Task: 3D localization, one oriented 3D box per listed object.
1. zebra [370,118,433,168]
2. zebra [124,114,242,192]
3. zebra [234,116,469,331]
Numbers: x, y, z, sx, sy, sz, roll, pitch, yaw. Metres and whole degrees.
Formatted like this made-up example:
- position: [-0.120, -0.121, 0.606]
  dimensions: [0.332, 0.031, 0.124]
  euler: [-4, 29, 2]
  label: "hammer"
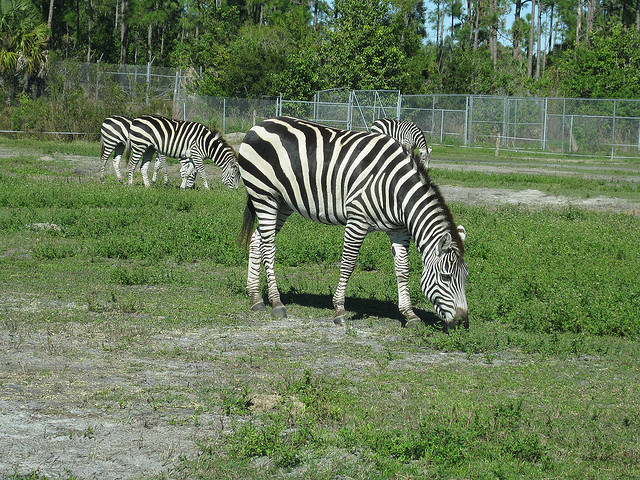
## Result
- position: [2.447, -2.962, 24.371]
  dimensions: [2.058, 1.274, 0.610]
  euler: [27, 31, 25]
  label: "zebra"
- position: [-3.774, -2.323, 21.844]
  dimensions: [2.999, 1.953, 1.740]
  euler: [4, 4, 25]
  label: "zebra"
- position: [0.389, -0.225, 12.374]
  dimensions: [3.858, 3.118, 1.130]
  euler: [10, 13, 22]
  label: "zebra"
